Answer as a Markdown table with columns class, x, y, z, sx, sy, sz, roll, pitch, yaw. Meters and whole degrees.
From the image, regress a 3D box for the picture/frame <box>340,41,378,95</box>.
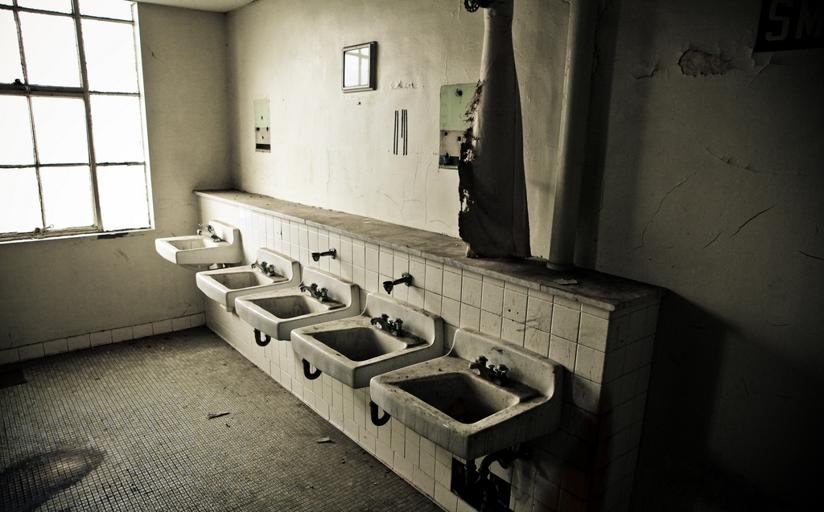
| class | x | y | z | sx | sy | sz | roll | pitch | yaw |
| --- | --- | --- | --- | --- | --- | --- | --- | --- | --- |
| picture/frame | -0.423 | -1.394 | 4.344 | 0.043 | 0.343 | 0.413 | 16 | 27 | 27 |

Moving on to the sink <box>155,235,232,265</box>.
| class | x | y | z | sx | sy | sz | roll | pitch | yaw |
| --- | --- | --- | --- | --- | --- | --- | --- | --- | --- |
| sink | -1.864 | -0.040 | 5.058 | 0.352 | 0.119 | 0.508 | -5 | 14 | -37 |

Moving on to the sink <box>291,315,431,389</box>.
| class | x | y | z | sx | sy | sz | roll | pitch | yaw |
| --- | --- | --- | --- | --- | --- | --- | --- | --- | --- |
| sink | -0.339 | 0.583 | 3.690 | 0.574 | 0.261 | 0.638 | -10 | 15 | -39 |

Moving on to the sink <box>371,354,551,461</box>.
| class | x | y | z | sx | sy | sz | roll | pitch | yaw |
| --- | --- | --- | --- | --- | --- | --- | --- | --- | --- |
| sink | 0.293 | 0.809 | 3.192 | 0.639 | 0.402 | 0.701 | -3 | 11 | -39 |

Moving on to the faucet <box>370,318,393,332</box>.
| class | x | y | z | sx | sy | sz | roll | pitch | yaw |
| --- | --- | --- | --- | --- | --- | --- | --- | --- | --- |
| faucet | -0.196 | 0.434 | 3.838 | 0.057 | 0.074 | 0.194 | -6 | 16 | -42 |

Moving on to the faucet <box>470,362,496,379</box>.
| class | x | y | z | sx | sy | sz | roll | pitch | yaw |
| --- | --- | --- | --- | --- | --- | --- | --- | --- | --- |
| faucet | 0.396 | 0.649 | 3.327 | 0.121 | 0.039 | 0.076 | 1 | 20 | 28 |
